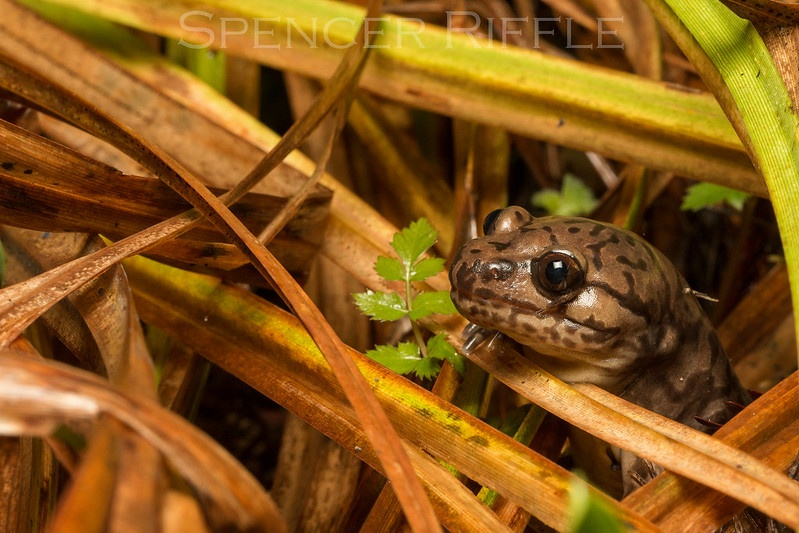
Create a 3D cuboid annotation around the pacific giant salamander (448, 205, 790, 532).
[{"bbox_3d":[0.466,0.199,1.873,0.760,0.302,0.543,24,1,-32],"label":"pacific giant salamander"}]
